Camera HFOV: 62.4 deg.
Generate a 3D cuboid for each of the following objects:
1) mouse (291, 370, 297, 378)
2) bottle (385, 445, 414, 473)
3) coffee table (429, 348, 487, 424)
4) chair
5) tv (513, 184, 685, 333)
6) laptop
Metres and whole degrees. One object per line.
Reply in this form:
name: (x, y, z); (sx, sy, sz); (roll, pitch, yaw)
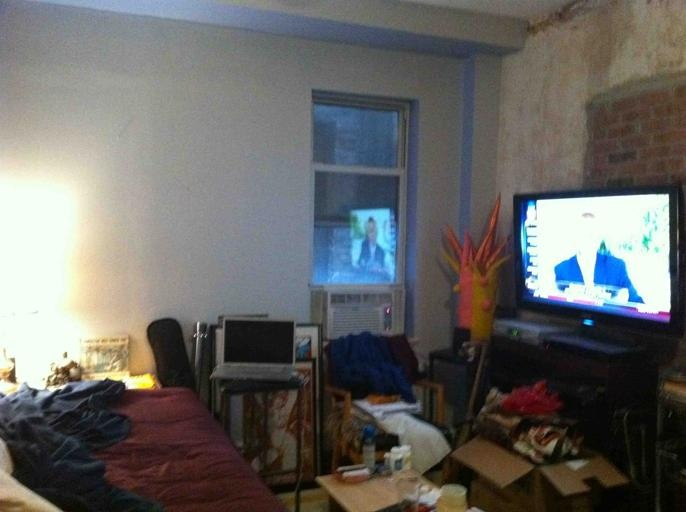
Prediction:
mouse: (-0.359, 0.866, 4.149); (0.048, 0.021, 0.067); (7, 4, -4)
bottle: (0.331, 1.230, 3.467); (0.206, 0.211, 0.121); (0, -5, -3)
coffee table: (0.809, 1.116, 4.662); (0.396, 0.533, 0.334); (14, -11, -22)
chair: (0.328, 1.162, 4.193); (0.788, 0.985, 1.052); (0, 3, -19)
tv: (1.774, 0.019, 3.851); (0.107, 0.770, 1.058); (-2, 2, -32)
laptop: (-0.643, 0.570, 4.189); (0.595, 0.395, 0.461); (1, 4, -2)
